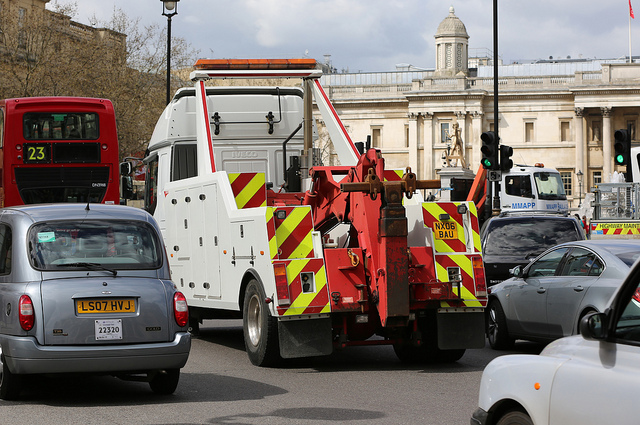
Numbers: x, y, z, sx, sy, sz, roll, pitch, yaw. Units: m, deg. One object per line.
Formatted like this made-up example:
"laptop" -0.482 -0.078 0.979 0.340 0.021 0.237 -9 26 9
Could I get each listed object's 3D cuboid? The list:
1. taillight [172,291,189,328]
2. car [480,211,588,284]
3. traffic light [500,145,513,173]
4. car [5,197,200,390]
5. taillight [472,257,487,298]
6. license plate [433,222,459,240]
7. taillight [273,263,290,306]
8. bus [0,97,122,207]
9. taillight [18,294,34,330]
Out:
"taillight" -1.807 1.254 11.545 0.169 0.455 0.266 0 1 4
"car" 4.088 0.655 16.767 1.387 1.066 2.217 -1 -1 -4
"traffic light" 5.639 -1.622 26.915 0.335 0.747 1.190 0 1 10
"car" -2.869 1.065 11.246 1.629 1.483 3.099 0 -1 -24
"taillight" 2.468 1.009 13.998 0.212 0.673 0.217 6 -31 -22
"license plate" 1.967 0.298 13.976 0.285 0.201 0.037 0 -7 -4
"taillight" -0.574 1.079 13.355 0.226 0.624 0.122 0 1 -16
"bus" -7.277 -1.503 24.956 3.090 3.292 4.745 -1 1 -19
"taillight" -3.623 1.229 10.985 0.202 0.411 0.093 0 1 3
